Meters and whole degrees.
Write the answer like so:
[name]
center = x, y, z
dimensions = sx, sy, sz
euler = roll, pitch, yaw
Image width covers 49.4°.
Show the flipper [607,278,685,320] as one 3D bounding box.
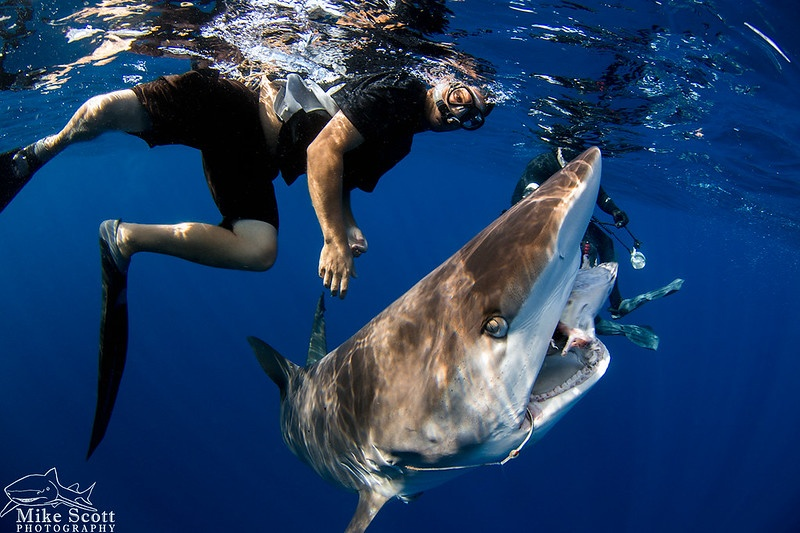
[flipper]
center = 4.946, 0.630, 18.254
dimensions = 1.169, 1.100, 0.372
euler = -34, 98, -54
